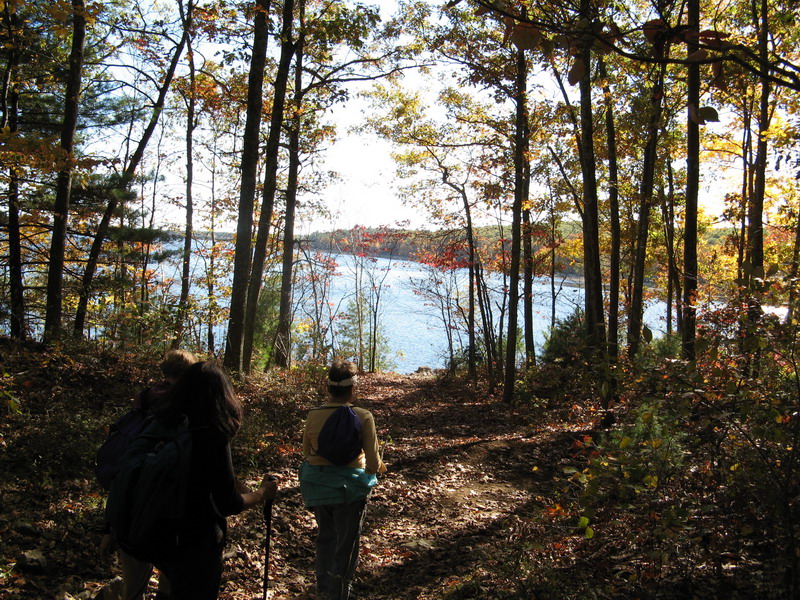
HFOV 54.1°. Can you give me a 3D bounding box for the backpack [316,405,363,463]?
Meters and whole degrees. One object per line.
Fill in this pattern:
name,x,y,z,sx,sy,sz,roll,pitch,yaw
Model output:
backpack,-0.679,1.548,9.044,0.437,0.632,0.232,4,-5,7
